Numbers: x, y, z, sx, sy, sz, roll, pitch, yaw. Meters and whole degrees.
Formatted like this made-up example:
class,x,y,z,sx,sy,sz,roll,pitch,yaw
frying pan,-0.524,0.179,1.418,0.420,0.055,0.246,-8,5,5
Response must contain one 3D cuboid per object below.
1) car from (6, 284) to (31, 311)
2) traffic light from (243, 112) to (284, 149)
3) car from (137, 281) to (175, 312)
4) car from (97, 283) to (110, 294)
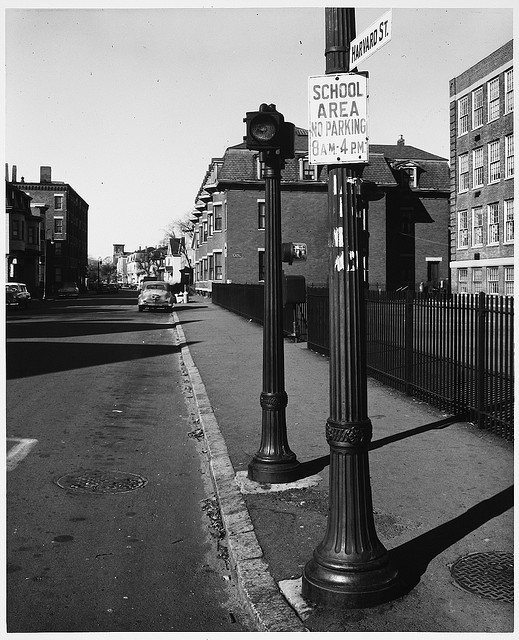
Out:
class,x,y,z,sx,sy,sz,roll,pitch,yaw
car,-14.242,-1.385,40.133,0.800,1.098,1.881,0,-1,-4
traffic light,0.038,-1.633,5.858,0.345,0.310,0.344,-1,6,-2
car,-5.527,-1.213,36.373,1.182,1.578,2.741,0,2,-6
car,-23.075,-4.659,101.425,1.174,1.399,3.316,3,16,-3
